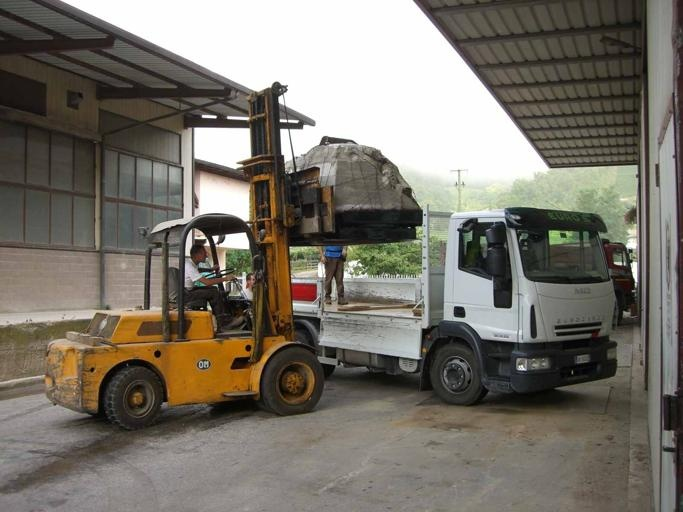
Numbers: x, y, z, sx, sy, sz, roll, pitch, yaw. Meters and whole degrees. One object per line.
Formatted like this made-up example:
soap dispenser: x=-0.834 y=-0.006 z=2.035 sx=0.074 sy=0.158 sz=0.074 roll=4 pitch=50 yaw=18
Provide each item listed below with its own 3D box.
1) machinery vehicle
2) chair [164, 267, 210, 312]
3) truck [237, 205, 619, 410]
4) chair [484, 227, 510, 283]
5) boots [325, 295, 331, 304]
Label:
machinery vehicle: x=-1.659 y=-0.148 z=8.794 sx=6.365 sy=5.103 sz=2.664 roll=-4 pitch=2 yaw=-39
chair: x=-2.332 y=0.533 z=7.717 sx=0.770 sy=0.863 sz=0.464 roll=0 pitch=0 yaw=-41
truck: x=1.543 y=1.007 z=10.515 sx=2.958 sy=2.967 sz=7.297 roll=2 pitch=-6 yaw=-40
chair: x=2.396 y=-0.072 z=7.535 sx=0.330 sy=0.871 sz=0.262 roll=-2 pitch=-1 yaw=17
boots: x=-0.299 y=1.016 z=11.311 sx=0.151 sy=0.254 sz=0.169 roll=-3 pitch=-4 yaw=14
